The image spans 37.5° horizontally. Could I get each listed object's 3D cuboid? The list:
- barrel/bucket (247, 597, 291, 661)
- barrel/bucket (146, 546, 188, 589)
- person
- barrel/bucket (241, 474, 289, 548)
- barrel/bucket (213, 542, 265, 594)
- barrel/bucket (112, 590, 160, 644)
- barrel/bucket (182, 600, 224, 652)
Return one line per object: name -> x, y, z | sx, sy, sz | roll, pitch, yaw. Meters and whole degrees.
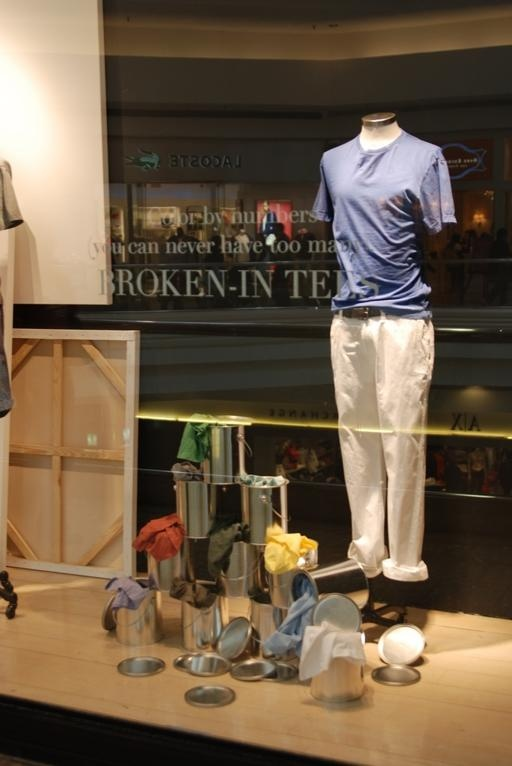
barrel/bucket -> 0.071, 0.665, 2.024 | 0.144, 0.142, 0.143 | -1, -9, 0
barrel/bucket -> -0.234, 0.503, 2.090 | 0.122, 0.118, 0.113 | -1, -3, 0
person -> 0.324, -0.091, 1.795 | 0.318, 1.031, 0.189 | -2, 12, 14
barrel/bucket -> 0.022, 0.331, 1.963 | 0.116, 0.165, 0.115 | 0, 11, 0
barrel/bucket -> -0.045, 0.500, 2.023 | 0.135, 0.127, 0.125 | 0, 5, 0
barrel/bucket -> -0.314, 0.664, 2.154 | 0.149, 0.137, 0.139 | 0, -3, 0
barrel/bucket -> -0.147, 0.657, 2.106 | 0.147, 0.140, 0.135 | -3, -12, -1
